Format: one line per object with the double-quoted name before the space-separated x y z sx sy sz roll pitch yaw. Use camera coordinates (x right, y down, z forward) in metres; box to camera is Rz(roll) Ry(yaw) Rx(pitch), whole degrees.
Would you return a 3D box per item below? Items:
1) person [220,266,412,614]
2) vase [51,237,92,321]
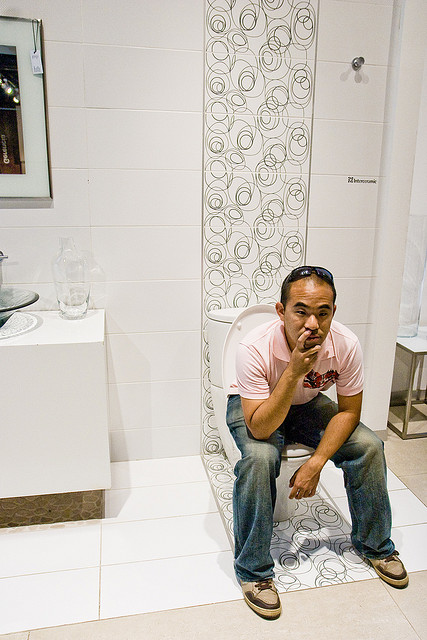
"person" 0.287 0.286 1.369 0.527 0.869 0.447 -1 12 -6
"vase" -0.497 -0.148 1.727 0.139 0.282 0.119 -4 13 -17
